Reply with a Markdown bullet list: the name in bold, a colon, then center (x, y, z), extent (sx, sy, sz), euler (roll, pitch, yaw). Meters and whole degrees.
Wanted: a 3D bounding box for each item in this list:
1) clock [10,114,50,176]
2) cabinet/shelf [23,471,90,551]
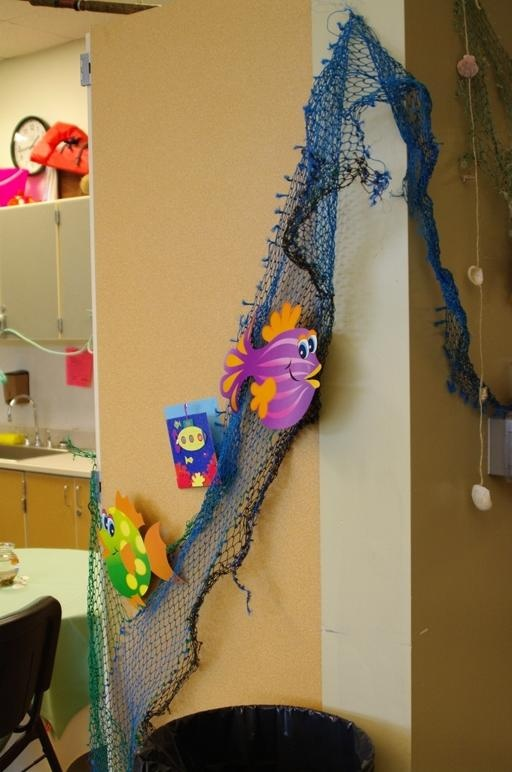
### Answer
- **clock**: center (-1.184, -1.253, 4.612), extent (0.086, 0.293, 0.297), euler (-3, 2, -44)
- **cabinet/shelf**: center (-1.001, 0.545, 4.060), extent (0.326, 0.334, 0.134), euler (4, -15, 32)
